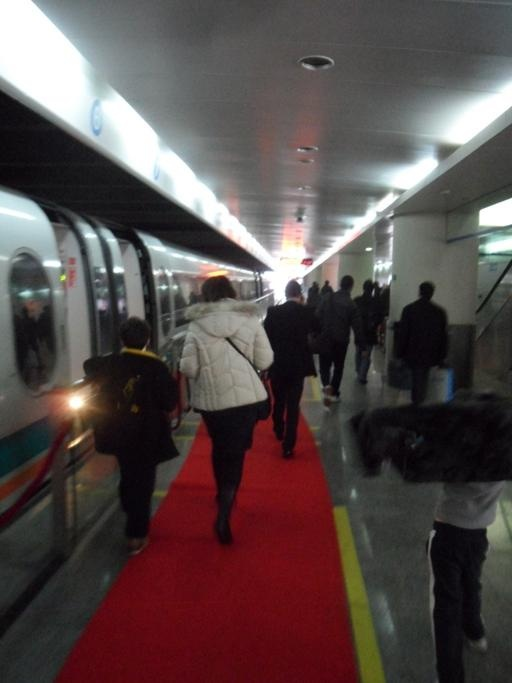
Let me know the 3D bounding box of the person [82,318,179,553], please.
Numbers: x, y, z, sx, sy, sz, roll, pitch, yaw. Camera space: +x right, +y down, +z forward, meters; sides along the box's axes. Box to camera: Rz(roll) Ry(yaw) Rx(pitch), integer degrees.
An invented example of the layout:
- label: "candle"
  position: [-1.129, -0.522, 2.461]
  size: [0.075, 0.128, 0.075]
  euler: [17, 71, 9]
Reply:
- label: "person"
  position: [-0.719, 0.514, 2.639]
  size: [0.529, 1.298, 0.241]
  euler: [2, 1, -23]

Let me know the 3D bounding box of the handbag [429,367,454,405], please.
- label: "handbag"
  position: [0.661, 0.160, 1.612]
  size: [0.065, 0.141, 0.130]
  euler: [3, 1, 2]

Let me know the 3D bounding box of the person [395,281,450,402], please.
- label: "person"
  position: [2.285, 0.093, 6.198]
  size: [0.605, 1.880, 0.428]
  euler: [-2, 24, 8]

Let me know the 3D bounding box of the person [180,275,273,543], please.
- label: "person"
  position: [-0.189, 0.425, 2.845]
  size: [0.551, 1.107, 0.331]
  euler: [3, 1, 2]

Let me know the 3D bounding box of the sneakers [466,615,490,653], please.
- label: "sneakers"
  position: [0.951, 1.219, 1.961]
  size: [0.059, 0.196, 0.075]
  euler: [-13, -30, 21]

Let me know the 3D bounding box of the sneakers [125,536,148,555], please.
- label: "sneakers"
  position: [-0.713, 1.221, 2.730]
  size: [0.056, 0.071, 0.159]
  euler: [7, 26, 10]

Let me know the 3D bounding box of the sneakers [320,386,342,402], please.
- label: "sneakers"
  position: [1.141, 0.793, 6.779]
  size: [0.194, 0.292, 0.617]
  euler: [0, -10, 7]

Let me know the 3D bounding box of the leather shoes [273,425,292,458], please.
- label: "leather shoes"
  position: [0.313, 1.017, 4.656]
  size: [0.114, 0.309, 0.087]
  euler: [-7, -4, 33]
